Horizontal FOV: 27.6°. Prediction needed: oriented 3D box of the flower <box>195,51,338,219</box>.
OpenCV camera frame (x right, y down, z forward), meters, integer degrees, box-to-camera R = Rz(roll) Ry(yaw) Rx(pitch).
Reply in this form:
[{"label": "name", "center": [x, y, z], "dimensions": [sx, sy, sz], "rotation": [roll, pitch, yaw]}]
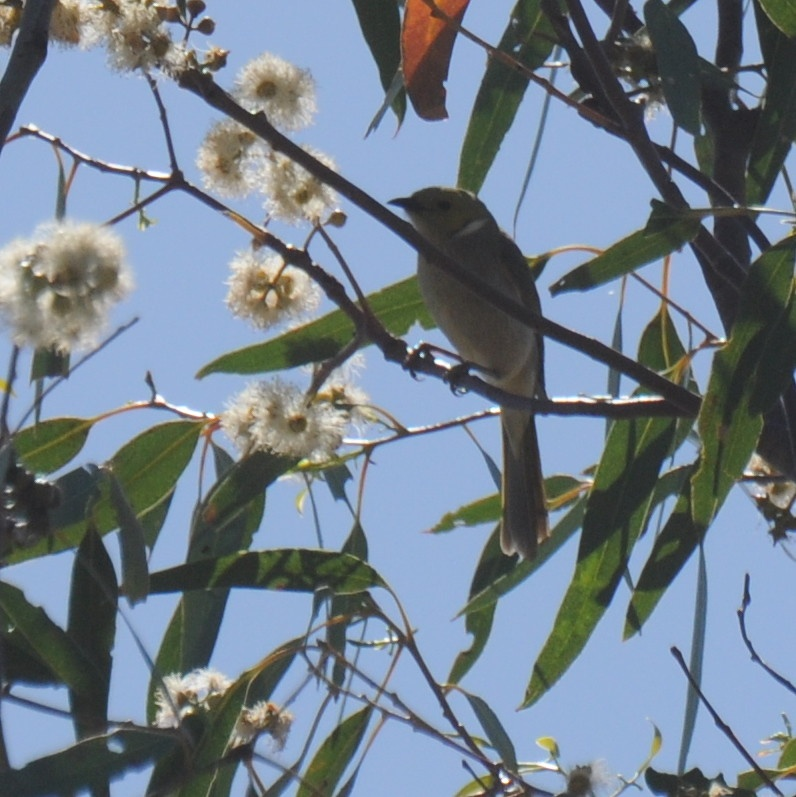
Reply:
[{"label": "flower", "center": [-0.207, -0.420, 2.612], "dimensions": [0.223, 0.205, 0.195], "rotation": [6, -60, -14]}]
